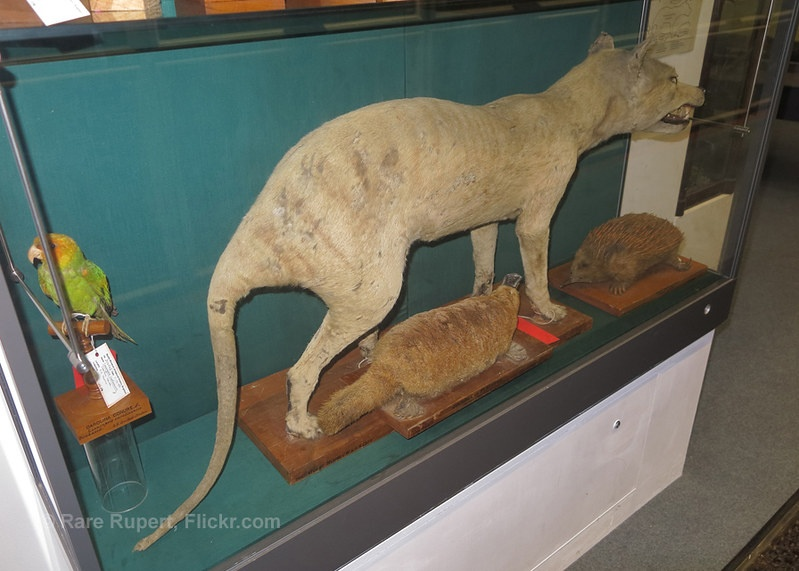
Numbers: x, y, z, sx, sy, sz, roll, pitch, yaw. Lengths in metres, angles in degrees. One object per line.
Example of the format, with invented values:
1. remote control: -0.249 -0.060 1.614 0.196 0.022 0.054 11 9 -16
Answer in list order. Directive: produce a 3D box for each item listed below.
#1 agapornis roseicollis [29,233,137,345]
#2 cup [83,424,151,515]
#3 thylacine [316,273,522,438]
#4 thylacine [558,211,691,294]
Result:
1. agapornis roseicollis: -0.637 -0.008 1.222 0.110 0.255 0.242 6 17 9
2. cup: -0.604 0.396 1.297 0.109 0.188 0.058 -28 37 -31
3. thylacine: 0.140 0.186 1.695 0.823 0.262 0.266 -23 18 -37
4. thylacine: 0.746 -0.093 2.047 0.513 0.216 0.276 -25 13 -28
